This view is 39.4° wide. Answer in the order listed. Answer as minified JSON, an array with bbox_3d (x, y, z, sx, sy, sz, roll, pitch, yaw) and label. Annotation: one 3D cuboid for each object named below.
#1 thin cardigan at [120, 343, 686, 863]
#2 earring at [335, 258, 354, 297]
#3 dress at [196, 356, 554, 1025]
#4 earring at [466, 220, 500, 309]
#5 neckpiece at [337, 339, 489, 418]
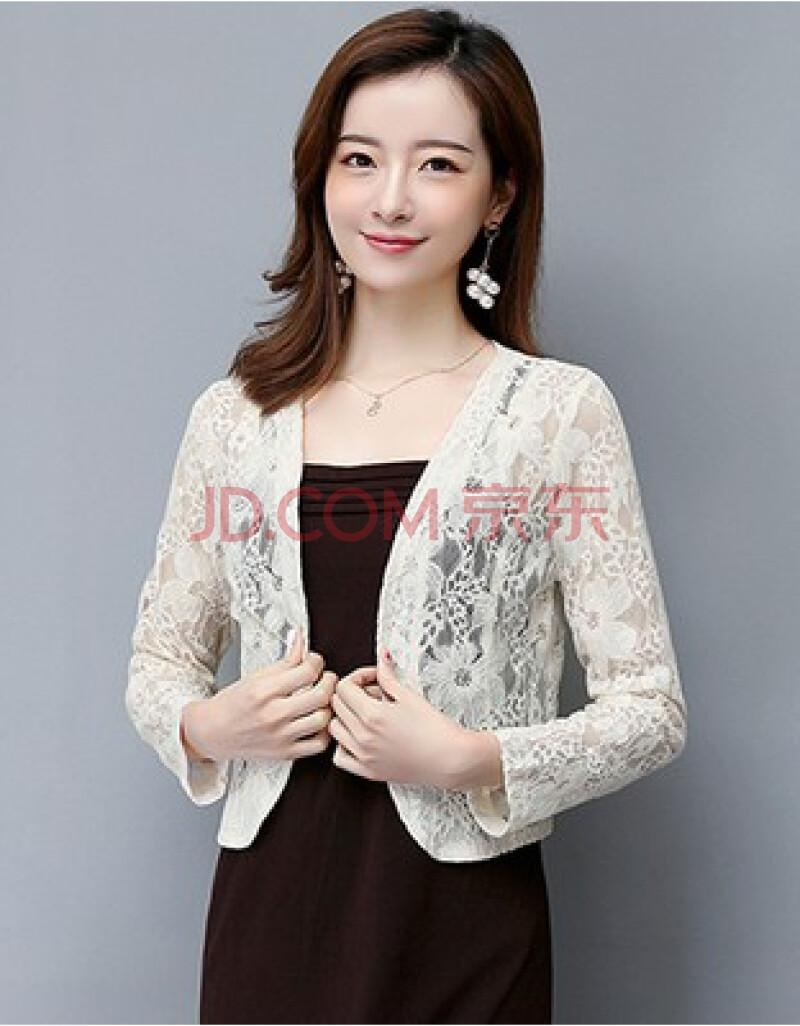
[{"bbox_3d":[-0.023,0.114,1.736,0.935,0.698,0.487,3,5,24],"label":"thin cardigan"},{"bbox_3d":[-0.092,-0.387,1.830,0.053,0.050,0.019,1,-1,-39],"label":"earring"},{"bbox_3d":[-0.007,0.372,1.616,0.505,0.804,0.422,7,27,12],"label":"dress"},{"bbox_3d":[0.137,-0.405,1.812,0.044,0.112,0.023,22,22,31],"label":"earring"},{"bbox_3d":[0.006,-0.203,1.745,0.250,0.028,0.096,-24,33,2],"label":"neckpiece"}]
